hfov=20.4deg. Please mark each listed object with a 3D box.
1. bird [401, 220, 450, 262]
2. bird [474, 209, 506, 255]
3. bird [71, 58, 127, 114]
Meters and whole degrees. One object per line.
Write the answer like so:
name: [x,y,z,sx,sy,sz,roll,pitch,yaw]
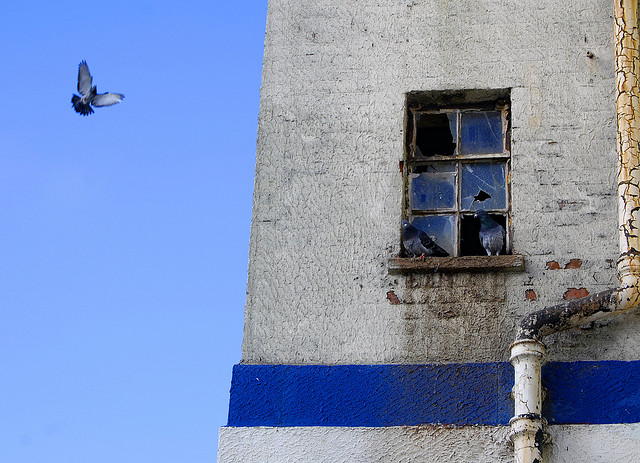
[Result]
bird: [0.977,0.098,16.851,0.489,0.369,0.286,5,-17,-35]
bird: [1.589,0.010,16.743,0.279,0.461,0.287,-3,-8,8]
bird: [-2.450,-1.595,19.627,0.527,0.631,0.513,0,-8,-12]
